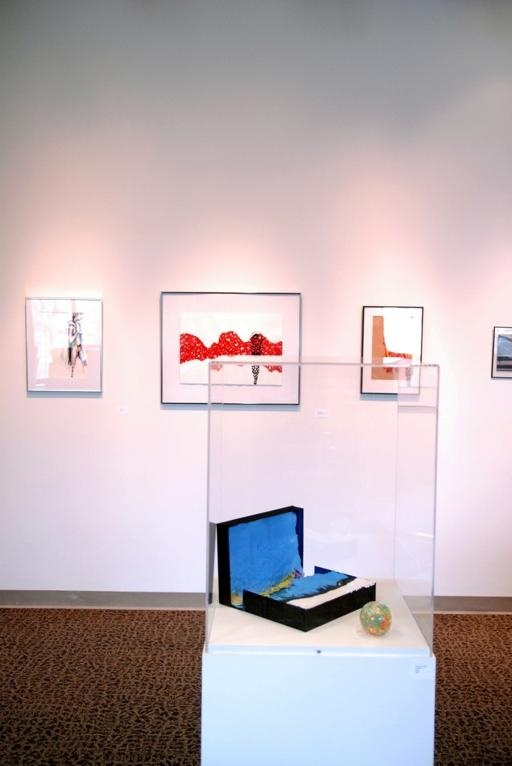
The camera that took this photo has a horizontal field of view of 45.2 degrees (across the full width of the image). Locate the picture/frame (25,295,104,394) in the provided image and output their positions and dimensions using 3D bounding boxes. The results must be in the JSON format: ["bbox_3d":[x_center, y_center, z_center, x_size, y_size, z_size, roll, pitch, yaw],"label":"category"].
[{"bbox_3d":[-1.089,-0.243,3.500,0.507,0.670,0.030,0,8,1],"label":"picture/frame"}]

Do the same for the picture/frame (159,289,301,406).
[{"bbox_3d":[-0.140,-0.208,2.917,0.623,0.511,0.015,0,2,0],"label":"picture/frame"}]

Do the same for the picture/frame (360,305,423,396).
[{"bbox_3d":[0.756,-0.175,3.463,0.354,0.515,0.010,5,13,30],"label":"picture/frame"}]
